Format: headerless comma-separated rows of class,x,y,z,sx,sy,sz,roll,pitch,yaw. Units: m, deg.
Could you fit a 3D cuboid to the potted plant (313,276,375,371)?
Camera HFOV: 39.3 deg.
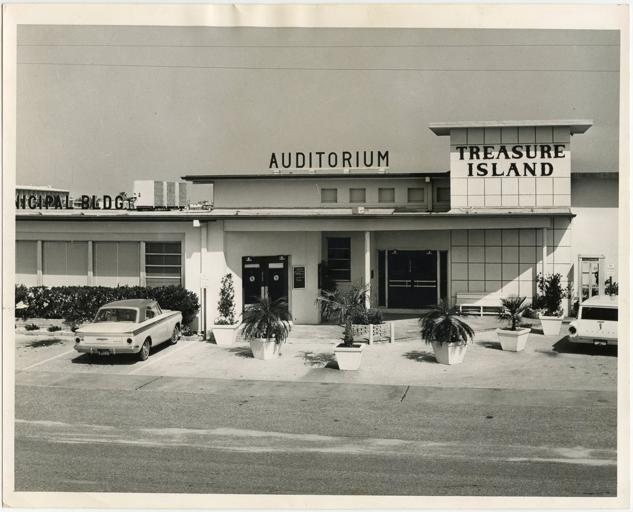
potted plant,1.157,2.175,26.742,1.944,3.251,2.134,-2,-6,3

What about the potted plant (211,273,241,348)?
potted plant,-2.983,1.762,29.310,0.919,2.177,0.990,4,0,30

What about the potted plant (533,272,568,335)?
potted plant,8.041,1.831,30.404,1.038,1.849,1.019,-3,5,-17

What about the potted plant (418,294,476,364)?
potted plant,3.649,2.124,26.397,1.516,1.815,1.392,8,25,-11

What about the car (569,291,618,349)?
car,8.523,1.997,27.084,1.333,1.114,2.433,-1,1,18

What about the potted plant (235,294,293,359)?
potted plant,-1.446,2.164,27.415,1.253,1.878,1.601,1,13,11

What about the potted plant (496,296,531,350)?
potted plant,6.183,2.114,27.970,0.826,1.645,0.958,1,7,32
